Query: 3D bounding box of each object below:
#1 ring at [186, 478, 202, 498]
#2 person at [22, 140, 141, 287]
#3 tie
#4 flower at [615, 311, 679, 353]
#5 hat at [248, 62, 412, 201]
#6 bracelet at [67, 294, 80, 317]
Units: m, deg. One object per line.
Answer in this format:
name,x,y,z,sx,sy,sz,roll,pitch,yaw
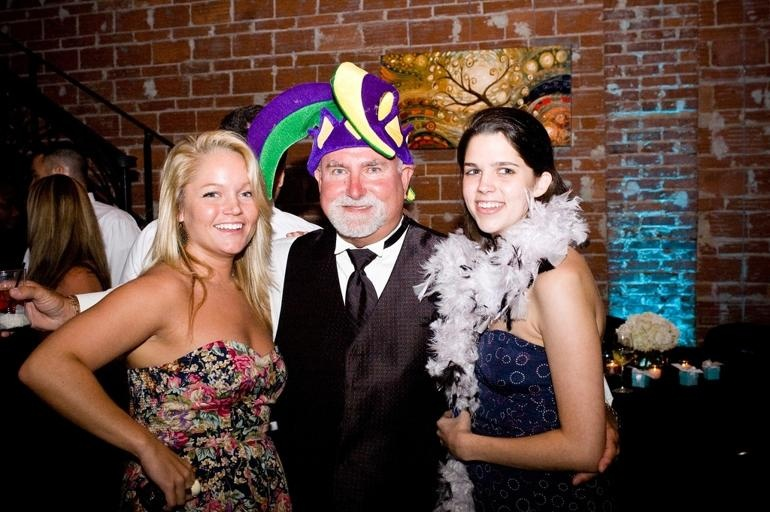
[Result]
ring,-0.840,1.024,2.877,0.061,0.062,0.022,7,3,44
person,-2.035,-0.283,4.362,0.595,0.919,1.086,2,6,-44
tie,-0.045,0.129,3.213,0.211,0.578,0.064,0,-19,17
flower,1.631,0.465,4.045,0.311,0.163,0.240,2,29,11
hat,-0.249,-0.631,3.477,0.872,0.538,0.603,-15,2,12
bracelet,-1.443,0.226,3.032,0.032,0.091,0.083,-15,-11,12
